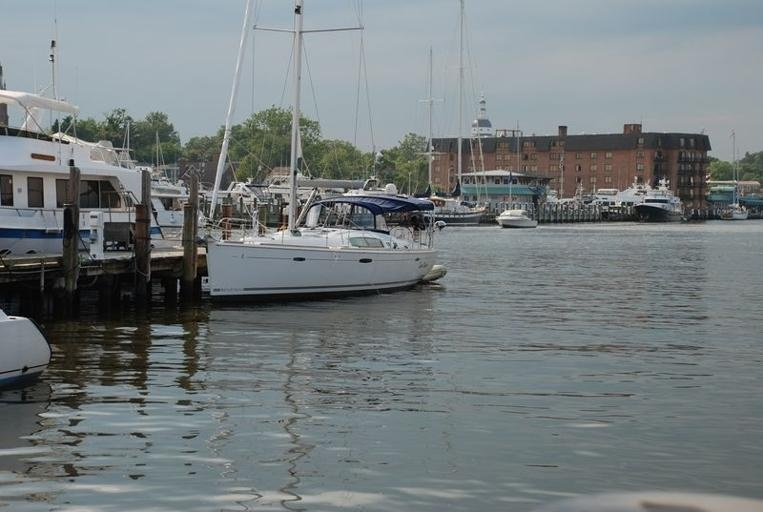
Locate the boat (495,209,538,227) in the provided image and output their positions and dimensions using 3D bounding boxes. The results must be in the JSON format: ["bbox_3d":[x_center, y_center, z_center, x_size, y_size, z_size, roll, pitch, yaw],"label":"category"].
[{"bbox_3d":[12.851,-3.442,102.745,1.955,1.091,3.424,5,7,32],"label":"boat"}]
